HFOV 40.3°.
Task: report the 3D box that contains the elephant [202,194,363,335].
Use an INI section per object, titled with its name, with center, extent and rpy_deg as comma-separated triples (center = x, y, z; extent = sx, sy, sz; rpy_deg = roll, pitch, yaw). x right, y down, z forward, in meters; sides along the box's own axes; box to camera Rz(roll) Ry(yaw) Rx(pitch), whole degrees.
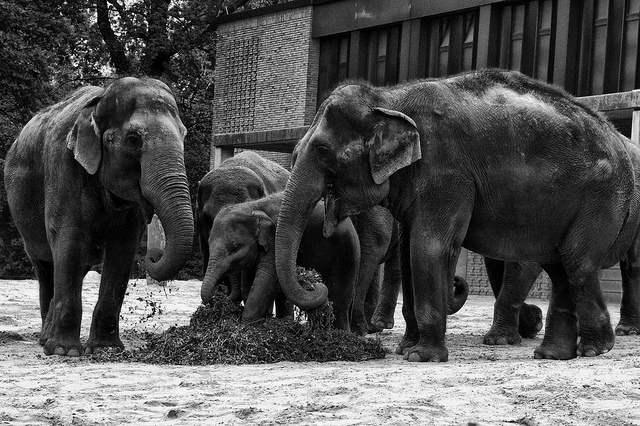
[elephant]
center = -0.363, 0.552, 9.546
extent = 1.870, 1.517, 0.970
rpy_deg = -1, 10, -10
